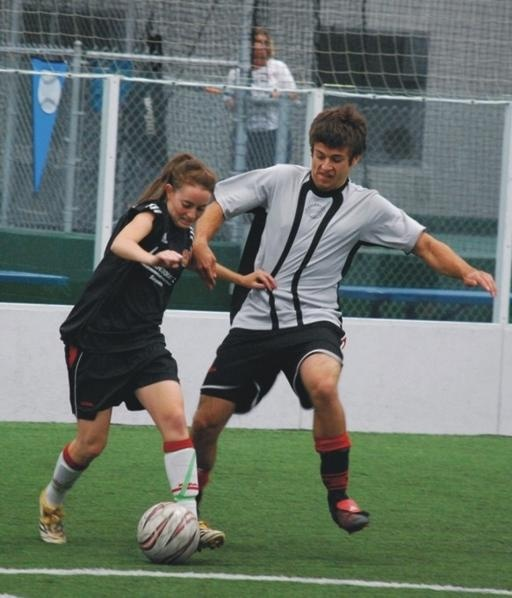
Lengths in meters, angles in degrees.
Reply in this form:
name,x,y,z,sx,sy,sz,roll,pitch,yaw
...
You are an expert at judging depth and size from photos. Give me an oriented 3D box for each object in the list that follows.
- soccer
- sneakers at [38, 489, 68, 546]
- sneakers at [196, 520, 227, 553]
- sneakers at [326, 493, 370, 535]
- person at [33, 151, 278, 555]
name,x,y,z,sx,sy,sz,roll,pitch,yaw
soccer,-0.336,0.977,4.325,0.184,0.231,0.283,7,5,41
sneakers,-0.888,0.985,4.591,0.097,0.164,0.274,4,9,-31
sneakers,-0.209,1.036,4.511,0.063,0.087,0.178,-12,-10,-41
sneakers,0.413,0.951,4.582,0.102,0.094,0.225,3,-2,-21
person,-0.536,0.231,4.500,0.733,1.697,0.650,4,4,-2
